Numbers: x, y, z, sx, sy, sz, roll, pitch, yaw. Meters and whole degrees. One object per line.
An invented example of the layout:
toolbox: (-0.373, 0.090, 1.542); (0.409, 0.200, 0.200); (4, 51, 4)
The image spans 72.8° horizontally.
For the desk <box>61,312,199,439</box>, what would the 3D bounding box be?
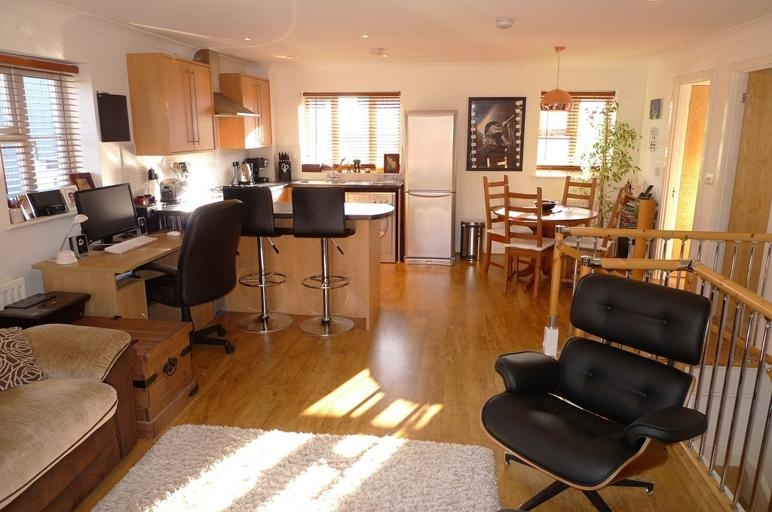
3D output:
desk: (-1.937, 0.910, 4.153); (0.934, 0.614, 0.855); (1, 14, 8)

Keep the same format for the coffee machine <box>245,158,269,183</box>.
coffee machine: (-1.921, -1.293, 7.817); (0.478, 0.455, 0.303); (-1, 12, -2)

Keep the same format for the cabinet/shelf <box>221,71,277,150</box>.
cabinet/shelf: (-1.903, -2.000, 7.151); (0.559, 1.116, 1.364); (1, 9, 6)

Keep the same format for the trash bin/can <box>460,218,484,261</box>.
trash bin/can: (1.306, -0.235, 7.969); (0.336, 0.601, 0.295); (2, 15, 8)

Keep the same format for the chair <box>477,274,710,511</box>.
chair: (1.397, 0.959, 3.472); (1.210, 1.314, 1.382); (-11, 14, -41)

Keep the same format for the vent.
vent: (-2.005, -2.208, 6.769); (0.870, 0.960, 0.890); (1, 9, 1)

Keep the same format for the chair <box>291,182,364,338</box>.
chair: (-0.621, 0.034, 5.320); (0.587, 1.529, 0.508); (-2, 15, -6)

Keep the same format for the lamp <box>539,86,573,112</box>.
lamp: (2.134, -1.948, 6.549); (0.324, 0.251, 0.576); (4, 14, 18)

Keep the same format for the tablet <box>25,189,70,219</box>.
tablet: (-3.020, -0.464, 4.648); (0.039, 0.183, 0.269); (-18, 12, 24)

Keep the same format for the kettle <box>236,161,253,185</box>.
kettle: (-2.024, -1.197, 7.534); (0.206, 0.314, 0.392); (-4, 14, -14)

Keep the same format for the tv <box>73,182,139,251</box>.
tv: (-2.600, -0.354, 4.831); (0.236, 0.535, 0.621); (3, 15, 19)
